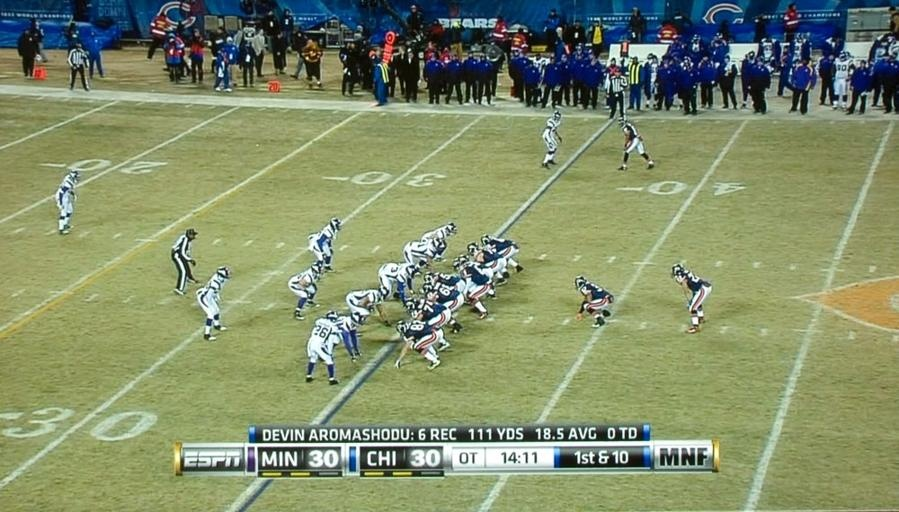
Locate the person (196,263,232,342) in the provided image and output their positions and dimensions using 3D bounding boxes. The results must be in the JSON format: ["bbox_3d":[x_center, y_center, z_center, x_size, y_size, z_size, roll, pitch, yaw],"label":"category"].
[{"bbox_3d":[-6.996,1.366,37.979,1.266,2.242,0.954,4,-1,25],"label":"person"}]

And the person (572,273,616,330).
[{"bbox_3d":[4.297,1.256,38.193,1.039,1.529,1.024,0,19,5],"label":"person"}]

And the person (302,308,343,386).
[{"bbox_3d":[-3.634,2.514,36.052,1.088,2.014,1.126,-4,20,-4],"label":"person"}]

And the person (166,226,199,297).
[{"bbox_3d":[-8.299,0.154,39.744,0.828,2.097,1.126,-6,20,-10],"label":"person"}]

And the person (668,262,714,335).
[{"bbox_3d":[7.160,1.260,37.819,1.026,2.041,1.028,1,0,-6],"label":"person"}]
